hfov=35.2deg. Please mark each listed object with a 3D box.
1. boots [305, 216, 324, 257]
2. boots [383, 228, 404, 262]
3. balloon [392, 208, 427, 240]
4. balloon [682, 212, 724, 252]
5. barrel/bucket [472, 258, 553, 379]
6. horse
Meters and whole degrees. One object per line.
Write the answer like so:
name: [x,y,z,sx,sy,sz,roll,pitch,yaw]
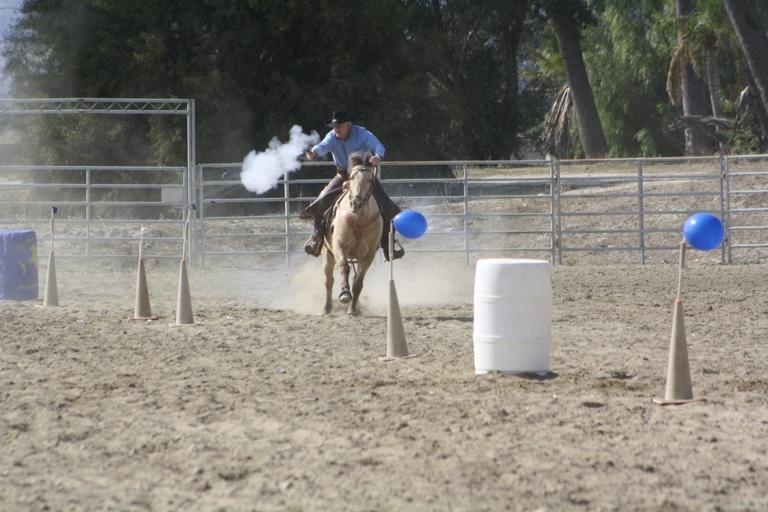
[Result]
boots: [-1.558,-0.330,28.635,0.323,0.769,1.033,7,-14,7]
boots: [0.180,-0.222,28.203,0.416,0.803,0.358,5,-8,-5]
balloon: [0.483,-0.676,25.907,0.650,0.545,0.520,-1,-30,-25]
balloon: [6.302,-0.535,24.267,0.802,0.983,0.800,0,-2,45]
barrel/bucket: [2.544,1.248,25.204,1.462,2.368,1.516,0,3,0]
horse: [-0.662,-0.712,27.717,1.308,2.924,3.485,0,4,2]
